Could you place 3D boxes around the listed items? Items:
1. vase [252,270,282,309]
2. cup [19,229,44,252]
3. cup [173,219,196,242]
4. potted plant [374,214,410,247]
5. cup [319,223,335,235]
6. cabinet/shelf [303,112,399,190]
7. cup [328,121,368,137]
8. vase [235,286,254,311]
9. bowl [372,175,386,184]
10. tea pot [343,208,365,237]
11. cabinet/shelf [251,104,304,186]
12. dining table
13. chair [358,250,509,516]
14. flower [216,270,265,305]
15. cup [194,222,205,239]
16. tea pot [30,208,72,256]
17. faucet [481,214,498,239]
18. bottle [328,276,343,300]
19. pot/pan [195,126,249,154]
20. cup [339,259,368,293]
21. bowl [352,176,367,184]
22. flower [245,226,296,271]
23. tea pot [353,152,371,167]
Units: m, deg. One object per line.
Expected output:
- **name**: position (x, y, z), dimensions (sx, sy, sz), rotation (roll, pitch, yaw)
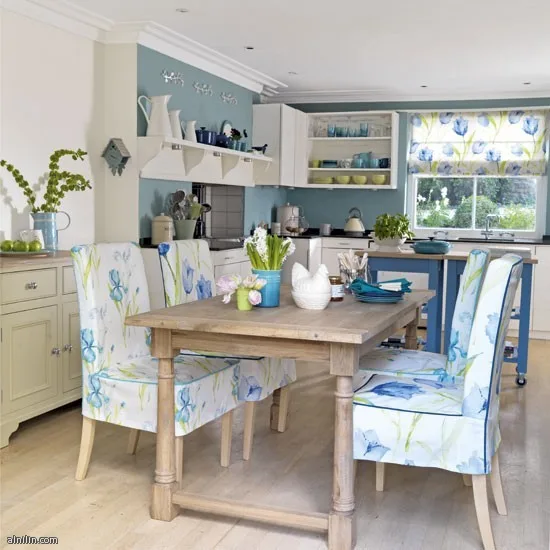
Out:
- **vase**: position (-0.042, 0.045, 2.055), dimensions (0.122, 0.134, 0.116), rotation (9, 4, -45)
- **cup**: position (-1.430, -0.204, 3.004), dimensions (0.124, 0.124, 0.275), rotation (-1, 3, -26)
- **cup**: position (-0.791, -0.364, 4.373), dimensions (0.213, 0.173, 0.208), rotation (0, 5, 0)
- **potted plant**: position (0.922, -0.354, 4.040), dimensions (0.251, 0.231, 0.257), rotation (0, 6, 6)
- **cup**: position (0.644, -0.570, 6.353), dimensions (0.155, 0.145, 0.120), rotation (0, 1, 34)
- **cabinet/shelf**: position (0.967, -1.533, 6.284), dimensions (0.947, 0.824, 0.293), rotation (1, 0, 16)
- **cup**: position (0.877, -1.748, 6.242), dimensions (0.295, 0.108, 0.237), rotation (-5, 10, -34)
- **vase**: position (-0.125, 0.086, 1.981), dimensions (0.074, 0.084, 0.077), rotation (0, -3, -8)
- **bowl**: position (1.269, -1.167, 6.226), dimensions (0.161, 0.137, 0.200), rotation (1, 3, 12)
- **tea pot**: position (0.984, -0.665, 6.334), dimensions (0.263, 0.372, 0.437), rotation (1, 3, 7)
- **cabinet/shelf**: position (-0.001, -1.462, 5.754), dimensions (0.345, 0.921, 1.039), rotation (0, 2, 20)
- **dining table**: position (0.006, 0.320, 1.929), dimensions (0.689, 0.628, 1.323), rotation (0, 2, 18)
- **chair**: position (0.544, 0.366, 2.087), dimensions (0.627, 1.048, 0.670), rotation (1, 0, 18)
- **flower**: position (-0.140, 0.043, 1.957), dimensions (0.137, 0.098, 0.136), rotation (1, -2, -34)
- **cup**: position (-0.743, -0.435, 5.027), dimensions (0.146, 0.155, 0.112), rotation (-3, 9, -11)
- **tea pot**: position (-1.383, -0.292, 3.299), dimensions (0.351, 0.360, 0.199), rotation (1, 0, -37)
- **faucet**: position (2.525, -0.587, 6.073), dimensions (0.172, 0.302, 0.137), rotation (-2, 4, -37)
- **bottle**: position (0.281, 0.055, 2.216), dimensions (0.082, 0.083, 0.087), rotation (0, 4, 19)
- **pot/pan**: position (-0.507, -1.251, 4.706), dimensions (0.181, 0.221, 0.588), rotation (4, 3, 32)
- **cup**: position (0.382, -0.003, 2.493), dimensions (0.154, 0.169, 0.145), rotation (0, 7, 0)
- **bowl**: position (1.038, -1.171, 6.312), dimensions (0.173, 0.124, 0.186), rotation (1, 3, 0)
- **flower**: position (-0.023, -0.108, 2.075), dimensions (0.199, 0.174, 0.178), rotation (0, 3, -4)
- **tea pot**: position (1.066, -1.403, 6.276), dimensions (0.240, 0.190, 0.160), rotation (1, 3, 19)
